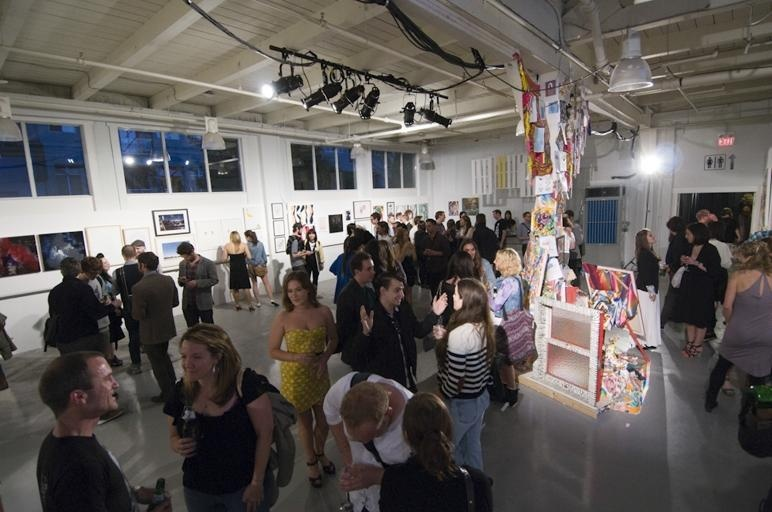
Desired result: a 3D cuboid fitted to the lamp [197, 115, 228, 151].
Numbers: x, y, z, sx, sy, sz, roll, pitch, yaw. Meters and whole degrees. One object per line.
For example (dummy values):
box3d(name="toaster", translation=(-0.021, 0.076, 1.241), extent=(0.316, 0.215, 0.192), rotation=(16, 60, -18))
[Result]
box3d(name="lamp", translation=(-3.237, -2.312, 8.738), extent=(0.328, 0.601, 0.584), rotation=(-6, 8, -17))

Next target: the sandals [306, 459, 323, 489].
box3d(name="sandals", translation=(-0.825, 2.519, 5.439), extent=(0.127, 0.146, 0.370), rotation=(-2, 1, -7))

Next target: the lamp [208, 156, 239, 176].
box3d(name="lamp", translation=(-3.726, -2.056, 10.873), extent=(0.110, 0.378, 0.721), rotation=(4, 11, 42))

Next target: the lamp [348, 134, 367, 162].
box3d(name="lamp", translation=(-0.720, -2.763, 11.990), extent=(0.609, 0.693, 0.574), rotation=(-13, 16, -3))

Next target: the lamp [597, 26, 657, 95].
box3d(name="lamp", translation=(3.160, -2.547, 6.041), extent=(0.568, 0.729, 0.536), rotation=(-15, 17, -39))

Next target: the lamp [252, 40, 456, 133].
box3d(name="lamp", translation=(-0.615, -2.809, 7.941), extent=(2.188, 1.115, 3.471), rotation=(2, 10, 34))

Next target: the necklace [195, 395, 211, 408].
box3d(name="necklace", translation=(-1.707, 1.359, 4.398), extent=(0.115, 0.108, 0.112), rotation=(21, -28, -36))

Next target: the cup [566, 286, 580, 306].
box3d(name="cup", translation=(2.695, 0.569, 6.804), extent=(0.232, 0.332, 0.251), rotation=(3, 0, 0))

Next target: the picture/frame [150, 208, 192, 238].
box3d(name="picture/frame", translation=(-4.599, -0.717, 9.936), extent=(0.047, 0.484, 0.617), rotation=(-4, 5, 40))
